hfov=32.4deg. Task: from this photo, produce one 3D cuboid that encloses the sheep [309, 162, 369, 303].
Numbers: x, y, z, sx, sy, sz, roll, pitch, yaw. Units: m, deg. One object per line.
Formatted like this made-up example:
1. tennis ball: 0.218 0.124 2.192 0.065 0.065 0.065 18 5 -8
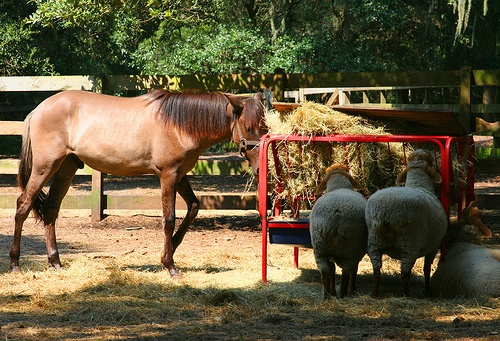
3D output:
1. sheep: 1.593 1.153 15.606 1.010 2.407 2.458 1 8 6
